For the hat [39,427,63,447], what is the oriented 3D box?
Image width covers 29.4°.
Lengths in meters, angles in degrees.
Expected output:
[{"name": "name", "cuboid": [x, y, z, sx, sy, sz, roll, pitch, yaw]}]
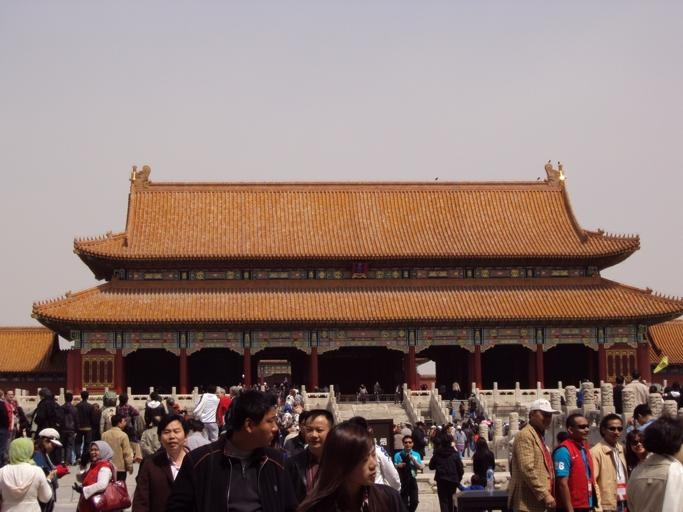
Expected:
[{"name": "hat", "cuboid": [-4.786, 2.959, 21.320, 0.488, 0.219, 0.321, 11, -5, -5]}]

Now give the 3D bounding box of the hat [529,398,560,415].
[{"name": "hat", "cuboid": [3.105, 2.418, 21.098, 0.639, 0.288, 0.428, -6, -10, 40]}]
